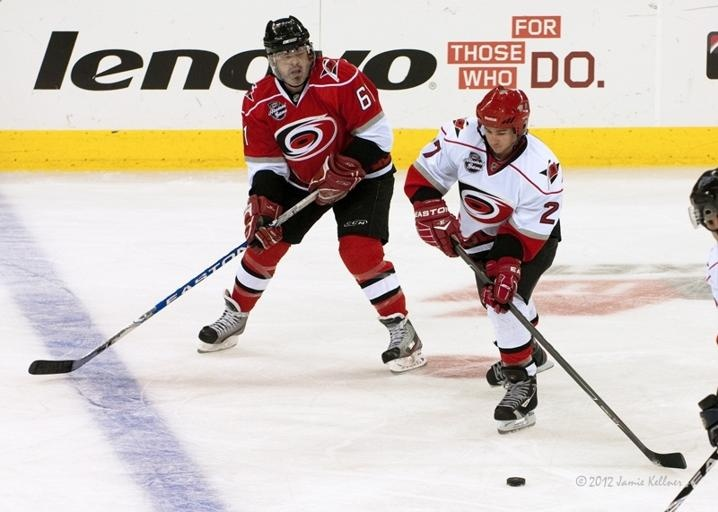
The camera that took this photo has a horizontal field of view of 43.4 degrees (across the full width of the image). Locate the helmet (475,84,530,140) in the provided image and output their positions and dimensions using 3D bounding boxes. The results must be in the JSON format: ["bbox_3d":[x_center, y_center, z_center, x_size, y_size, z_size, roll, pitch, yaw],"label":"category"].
[{"bbox_3d":[0.599,-0.606,3.829,0.209,0.193,0.240,28,25,32],"label":"helmet"}]

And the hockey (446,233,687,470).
[{"bbox_3d":[0.982,0.539,3.716,0.166,1.144,0.100,-39,28,5],"label":"hockey"}]

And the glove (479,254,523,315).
[{"bbox_3d":[0.576,0.122,3.739,0.113,0.212,0.205,7,52,-11],"label":"glove"}]

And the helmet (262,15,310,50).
[{"bbox_3d":[-0.323,-1.001,4.109,0.186,0.153,0.192,-10,22,5],"label":"helmet"}]

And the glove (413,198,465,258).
[{"bbox_3d":[0.356,-0.137,3.983,0.210,0.249,0.110,-24,8,29],"label":"glove"}]

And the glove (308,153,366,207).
[{"bbox_3d":[-0.126,-0.363,4.225,0.270,0.231,0.108,-40,31,25],"label":"glove"}]

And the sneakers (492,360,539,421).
[{"bbox_3d":[0.669,0.551,3.749,0.125,0.147,0.311,-11,21,26],"label":"sneakers"}]

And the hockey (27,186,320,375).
[{"bbox_3d":[-0.981,0.151,4.830,1.941,0.228,0.206,-28,10,-21],"label":"hockey"}]
